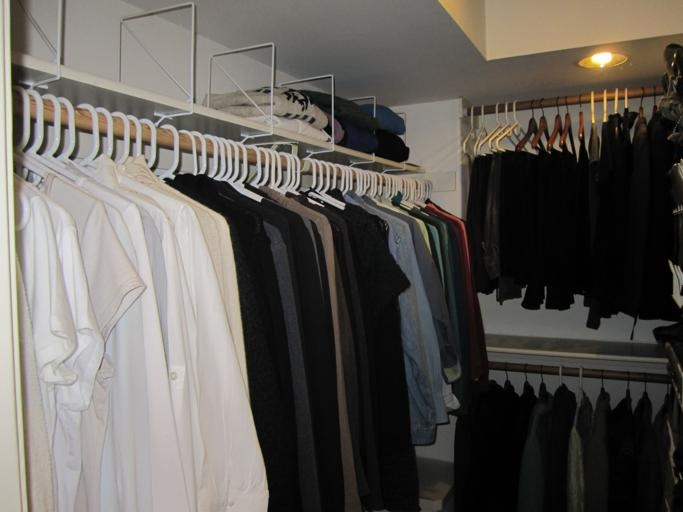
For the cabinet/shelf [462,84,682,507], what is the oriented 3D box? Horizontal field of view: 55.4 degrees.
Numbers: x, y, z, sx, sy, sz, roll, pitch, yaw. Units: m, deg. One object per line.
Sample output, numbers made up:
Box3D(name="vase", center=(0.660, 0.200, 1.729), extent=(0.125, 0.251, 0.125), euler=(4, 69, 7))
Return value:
Box3D(name="cabinet/shelf", center=(0.953, 0.210, 2.725), extent=(0.568, 1.711, 1.043), euler=(-1, 0, -42))
